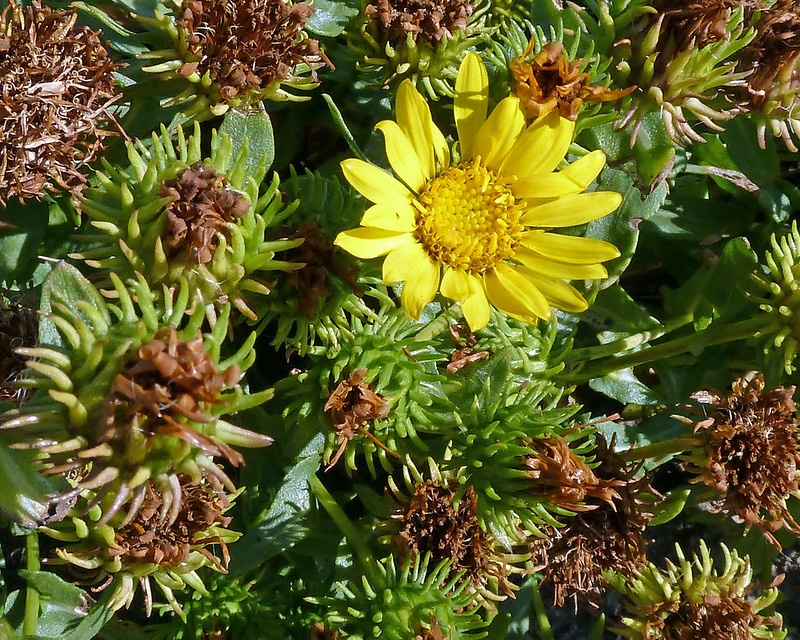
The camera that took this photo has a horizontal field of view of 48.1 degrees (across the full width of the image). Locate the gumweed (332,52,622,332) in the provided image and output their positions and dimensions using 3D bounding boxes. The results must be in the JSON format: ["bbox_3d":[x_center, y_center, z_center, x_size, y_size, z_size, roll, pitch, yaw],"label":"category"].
[{"bbox_3d":[0.131,-0.203,1.749,0.460,0.619,0.541,-1,98,-8],"label":"gumweed"}]
